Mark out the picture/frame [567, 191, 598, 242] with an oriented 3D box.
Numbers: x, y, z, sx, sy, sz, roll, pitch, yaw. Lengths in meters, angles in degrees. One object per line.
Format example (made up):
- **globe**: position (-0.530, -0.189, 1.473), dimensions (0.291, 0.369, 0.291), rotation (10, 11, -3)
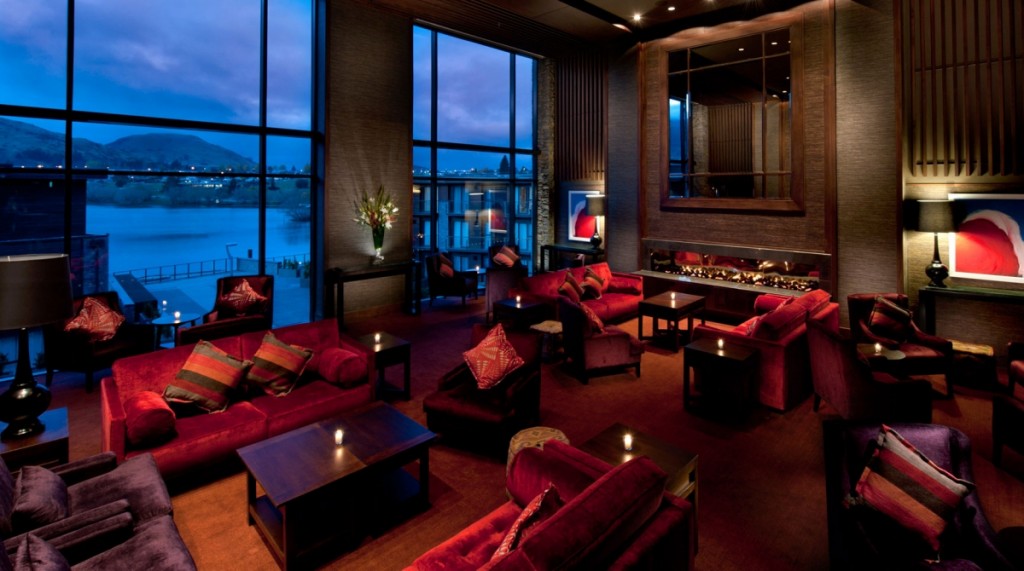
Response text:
- **picture/frame**: position (1.588, -1.567, 14.133), dimensions (0.065, 1.382, 1.307), rotation (-1, 2, -36)
